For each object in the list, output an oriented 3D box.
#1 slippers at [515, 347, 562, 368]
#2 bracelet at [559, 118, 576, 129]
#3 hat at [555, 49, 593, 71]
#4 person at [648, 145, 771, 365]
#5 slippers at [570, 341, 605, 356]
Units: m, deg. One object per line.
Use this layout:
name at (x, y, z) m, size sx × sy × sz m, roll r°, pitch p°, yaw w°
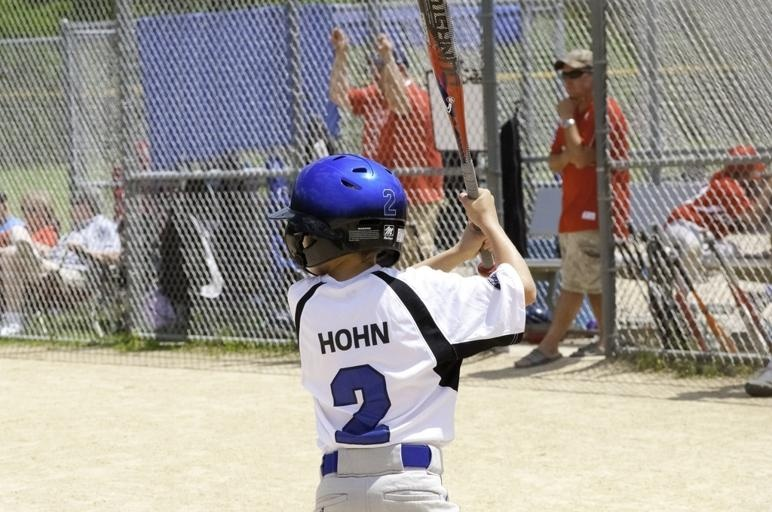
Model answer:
slippers at (1.289, 0.845, 12.003) m, size 0.403 × 0.122 × 0.144 m, roll -3°, pitch -5°, yaw -28°
bracelet at (1.508, -1.095, 11.773) m, size 0.107 × 0.074 × 0.099 m, roll 1°, pitch -9°, yaw -7°
hat at (1.596, -1.687, 11.960) m, size 0.244 × 0.120 × 0.180 m, roll 1°, pitch 1°, yaw -21°
person at (2.656, 0.007, 11.695) m, size 0.975 × 1.517 × 0.538 m, roll -2°, pitch 3°, yaw 13°
slippers at (1.733, 0.777, 12.121) m, size 0.309 × 0.125 × 0.111 m, roll 1°, pitch -6°, yaw -6°
